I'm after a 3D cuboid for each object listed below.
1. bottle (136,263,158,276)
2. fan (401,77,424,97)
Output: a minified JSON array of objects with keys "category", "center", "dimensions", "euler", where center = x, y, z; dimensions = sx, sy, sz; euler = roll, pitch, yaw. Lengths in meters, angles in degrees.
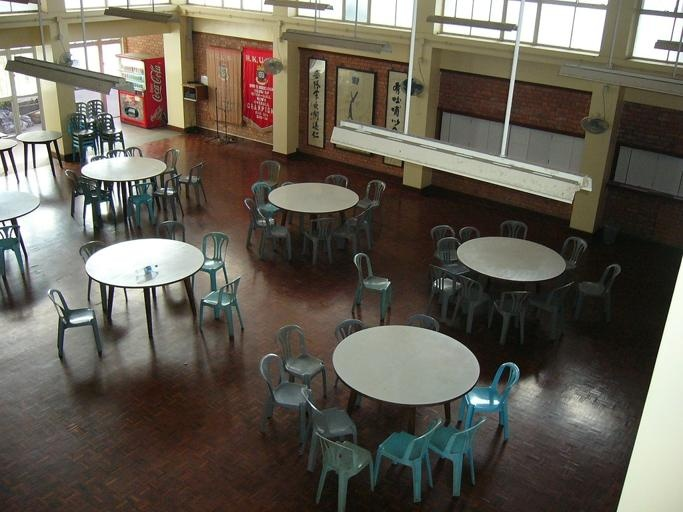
[{"category":"bottle","center":[-2.811,0.212,7.575],"dimensions":[0.266,0.075,0.151],"euler":[-12,32,-27]},{"category":"fan","center":[1.663,-4.009,12.300],"dimensions":[0.543,0.423,1.318],"euler":[1,19,6]}]
